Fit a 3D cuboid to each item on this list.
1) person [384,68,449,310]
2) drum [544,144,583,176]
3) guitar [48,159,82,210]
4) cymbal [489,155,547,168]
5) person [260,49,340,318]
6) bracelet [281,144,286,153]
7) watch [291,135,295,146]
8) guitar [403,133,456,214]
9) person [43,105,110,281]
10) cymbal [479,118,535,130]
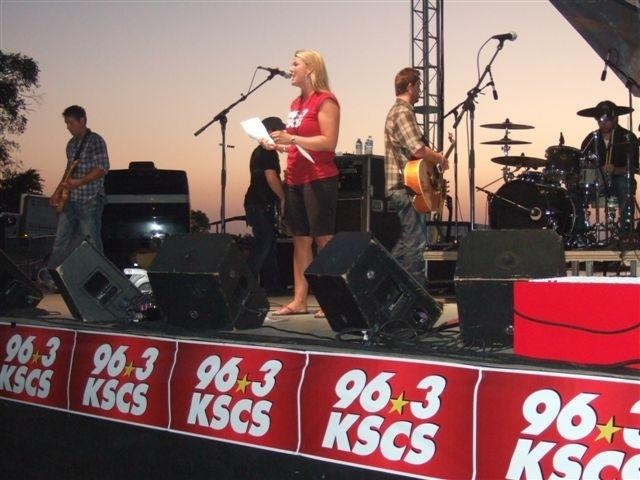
[{"bbox_3d":[0.785,-0.506,5.881,0.474,1.825,0.557,-1,5,0],"label":"person"},{"bbox_3d":[2.637,-0.888,7.748,0.318,0.250,0.329,3,14,-1],"label":"drum"},{"bbox_3d":[-2.196,-0.452,6.074,0.102,0.440,0.224,28,-3,0],"label":"guitar"},{"bbox_3d":[2.391,-0.950,8.659,0.604,0.167,0.578,0,5,11],"label":"cymbal"},{"bbox_3d":[-0.116,-0.421,5.268,0.528,1.988,0.529,-1,5,2],"label":"person"},{"bbox_3d":[-0.267,-0.658,5.074,0.040,0.041,0.041,0,1,9],"label":"bracelet"},{"bbox_3d":[-0.199,-0.717,5.078,0.051,0.077,0.018,2,6,23],"label":"watch"},{"bbox_3d":[0.975,-0.594,6.377,0.150,0.500,1.138,-8,14,20],"label":"guitar"},{"bbox_3d":[-2.098,-0.503,6.148,0.487,1.318,0.521,-1,5,6],"label":"person"},{"bbox_3d":[2.326,-1.485,9.018,0.633,0.170,0.709,-1,5,5],"label":"cymbal"}]
